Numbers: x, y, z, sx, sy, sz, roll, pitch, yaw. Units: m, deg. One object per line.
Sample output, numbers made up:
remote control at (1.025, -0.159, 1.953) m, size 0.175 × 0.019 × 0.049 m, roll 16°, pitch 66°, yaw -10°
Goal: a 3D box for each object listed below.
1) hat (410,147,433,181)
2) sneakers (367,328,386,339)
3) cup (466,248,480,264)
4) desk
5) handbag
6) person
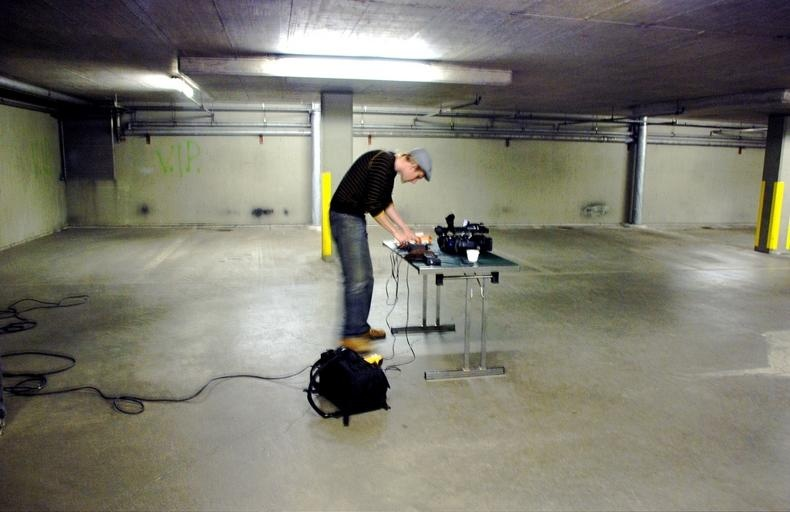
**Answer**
hat at (0.302, -0.875, 5.081) m, size 0.169 × 0.227 × 0.322 m, roll -26°, pitch -37°, yaw 15°
sneakers at (-0.169, 0.879, 5.919) m, size 0.279 × 0.105 × 0.090 m, roll -4°, pitch 6°, yaw -7°
cup at (0.769, 0.001, 5.250) m, size 0.135 × 0.116 × 0.136 m, roll 5°, pitch -3°, yaw 0°
desk at (0.694, 0.560, 6.081) m, size 0.818 × 0.982 × 1.863 m, roll 10°, pitch -1°, yaw -1°
handbag at (-0.417, 1.136, 4.899) m, size 0.772 × 0.531 × 0.577 m, roll -10°, pitch 19°, yaw -28°
person at (-0.181, -0.045, 5.165) m, size 0.876 × 1.993 × 0.671 m, roll -5°, pitch 13°, yaw -22°
